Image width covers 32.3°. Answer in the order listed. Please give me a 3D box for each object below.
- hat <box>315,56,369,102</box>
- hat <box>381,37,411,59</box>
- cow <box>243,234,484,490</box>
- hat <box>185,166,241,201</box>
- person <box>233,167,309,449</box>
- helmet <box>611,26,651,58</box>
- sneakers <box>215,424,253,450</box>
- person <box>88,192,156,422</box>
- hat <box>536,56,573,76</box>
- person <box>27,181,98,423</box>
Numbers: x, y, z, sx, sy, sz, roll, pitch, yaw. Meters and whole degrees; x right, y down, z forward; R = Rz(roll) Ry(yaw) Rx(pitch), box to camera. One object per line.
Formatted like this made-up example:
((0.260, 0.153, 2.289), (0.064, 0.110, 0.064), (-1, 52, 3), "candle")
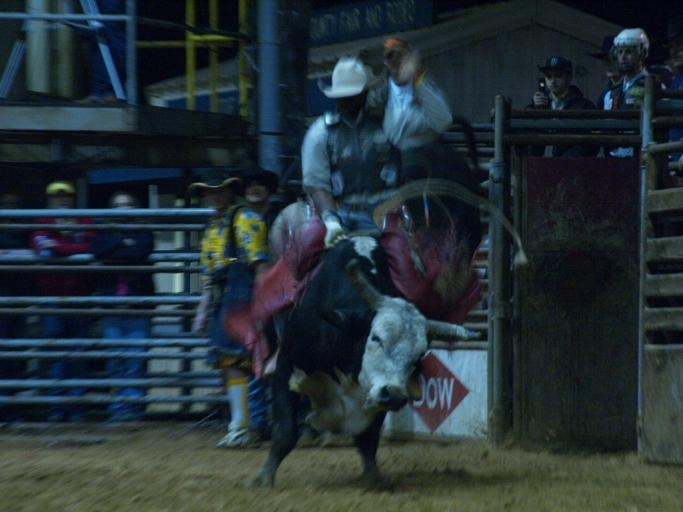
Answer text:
((0.058, -1.318, 8.747), (0.359, 0.300, 0.186), (-1, 0, -3), "hat")
((0.410, -1.541, 8.719), (0.167, 0.150, 0.043), (2, -16, 1), "hat")
((0.148, 0.721, 8.552), (1.316, 1.708, 0.724), (-1, 1, 45), "cow")
((-1.027, -0.674, 10.162), (0.355, 0.147, 0.397), (-19, -13, 29), "hat")
((-0.578, 0.488, 10.266), (0.655, 2.437, 1.395), (0, 18, -1), "person")
((2.599, -1.882, 10.463), (0.314, 0.236, 0.267), (-1, 1, -5), "helmet")
((-0.883, 1.538, 9.966), (0.372, 0.133, 0.122), (-3, 4, -18), "sneakers")
((-1.946, 0.451, 10.617), (0.537, 2.041, 0.443), (-1, 0, -9), "person")
((2.085, -1.785, 10.964), (0.316, 0.133, 0.207), (5, 1, -41), "hat")
((-2.480, 0.400, 10.656), (0.565, 2.170, 0.451), (-1, 0, -1), "person")
